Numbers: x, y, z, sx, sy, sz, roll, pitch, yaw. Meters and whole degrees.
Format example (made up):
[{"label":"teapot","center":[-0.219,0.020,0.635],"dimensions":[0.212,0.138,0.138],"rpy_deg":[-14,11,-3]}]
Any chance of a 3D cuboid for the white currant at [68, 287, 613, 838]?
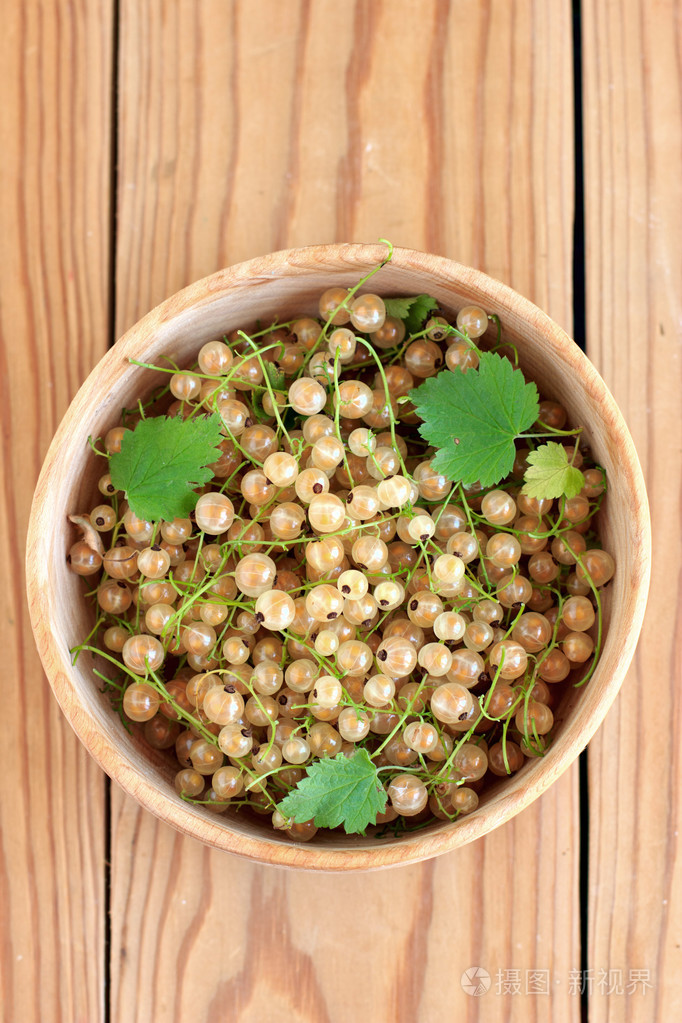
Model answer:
[{"label":"white currant","center":[-0.003,0.044,0.791],"dimensions":[0.460,0.240,0.407],"rpy_deg":[-1,91,-5]}]
